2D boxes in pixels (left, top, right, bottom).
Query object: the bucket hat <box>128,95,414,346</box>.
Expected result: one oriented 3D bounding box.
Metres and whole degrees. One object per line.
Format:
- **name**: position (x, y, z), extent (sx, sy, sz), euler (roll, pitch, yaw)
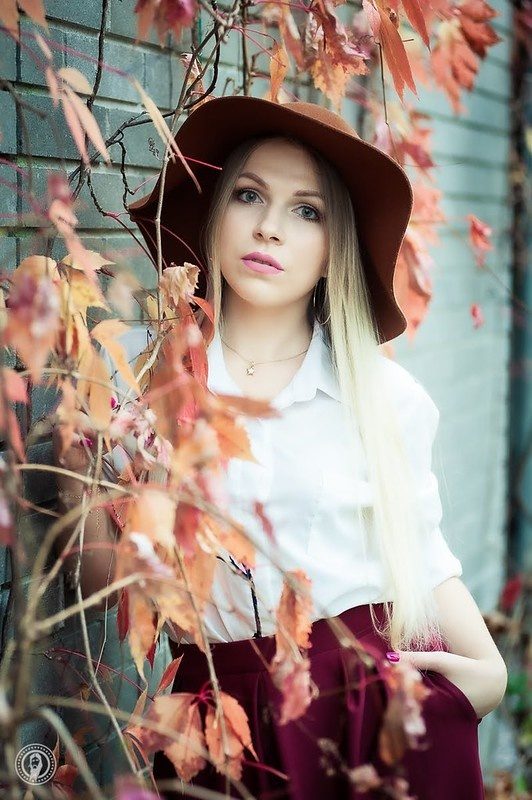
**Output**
- **bucket hat**: position (0.053, -0.317, 1.234), extent (0.346, 0.140, 0.417), euler (16, -31, 5)
